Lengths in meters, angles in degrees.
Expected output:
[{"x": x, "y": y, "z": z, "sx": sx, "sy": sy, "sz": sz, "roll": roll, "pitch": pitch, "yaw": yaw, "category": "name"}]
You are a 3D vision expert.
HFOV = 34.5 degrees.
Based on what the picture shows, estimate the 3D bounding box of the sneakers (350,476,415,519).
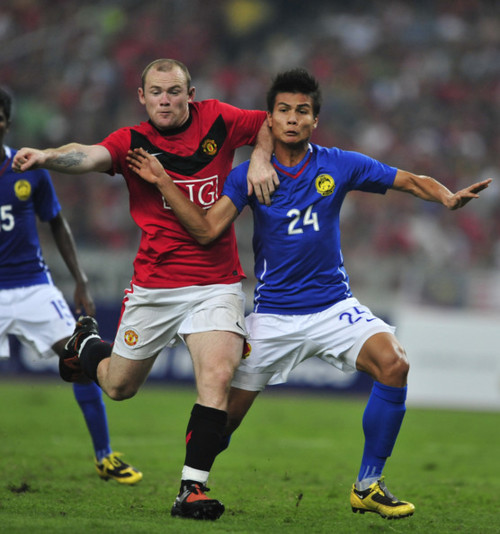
[{"x": 0.637, "y": 1.170, "z": 4.137, "sx": 0.442, "sy": 0.183, "sz": 0.139, "roll": 1, "pitch": 4, "yaw": 28, "category": "sneakers"}]

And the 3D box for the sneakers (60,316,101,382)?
[{"x": -1.013, "y": 0.481, "z": 4.724, "sx": 0.205, "sy": 0.430, "sz": 0.215, "roll": 23, "pitch": -15, "yaw": -9, "category": "sneakers"}]

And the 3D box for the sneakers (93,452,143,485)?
[{"x": -0.781, "y": 1.192, "z": 4.744, "sx": 0.326, "sy": 0.117, "sz": 0.114, "roll": 1, "pitch": 6, "yaw": 31, "category": "sneakers"}]

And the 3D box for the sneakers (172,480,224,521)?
[{"x": -0.190, "y": 1.114, "z": 3.808, "sx": 0.127, "sy": 0.143, "sz": 0.330, "roll": 15, "pitch": -18, "yaw": -40, "category": "sneakers"}]
